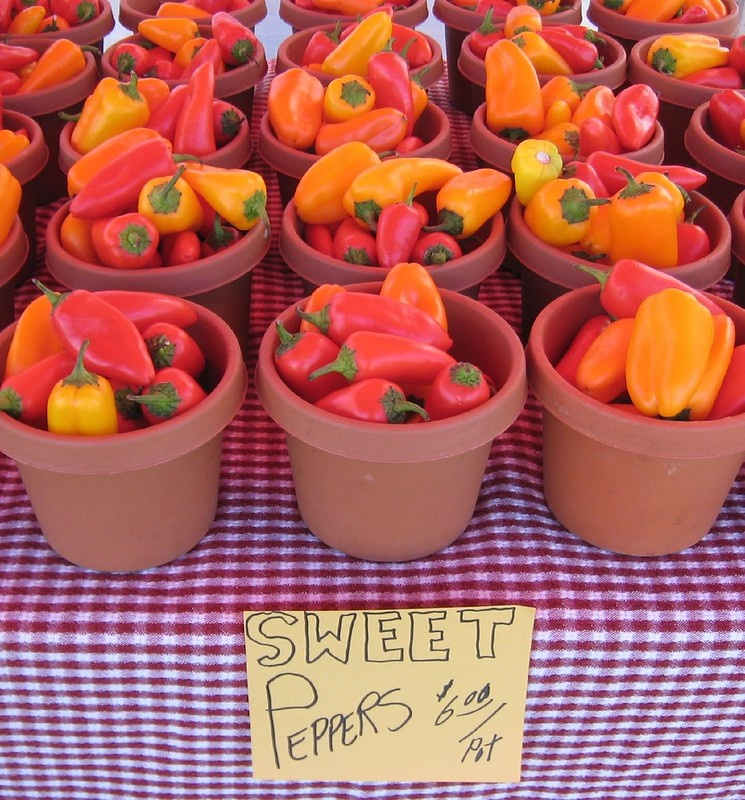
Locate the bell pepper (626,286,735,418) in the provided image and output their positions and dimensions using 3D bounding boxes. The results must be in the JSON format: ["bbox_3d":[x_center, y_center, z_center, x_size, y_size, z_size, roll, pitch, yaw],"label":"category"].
[{"bbox_3d":[0.482,-0.081,1.293,0.167,0.086,0.211,16,64,7],"label":"bell pepper"}]

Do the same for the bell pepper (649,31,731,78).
[{"bbox_3d":[0.906,-1.005,2.406,0.248,0.102,0.125,-4,85,1],"label":"bell pepper"}]

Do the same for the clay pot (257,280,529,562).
[{"bbox_3d":[0.035,0.082,1.343,0.384,0.258,0.359,4,24,-2],"label":"clay pot"}]

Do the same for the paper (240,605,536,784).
[{"bbox_3d":[0.017,0.457,1.290,0.417,0.267,0.005,0,32,-1],"label":"paper"}]
